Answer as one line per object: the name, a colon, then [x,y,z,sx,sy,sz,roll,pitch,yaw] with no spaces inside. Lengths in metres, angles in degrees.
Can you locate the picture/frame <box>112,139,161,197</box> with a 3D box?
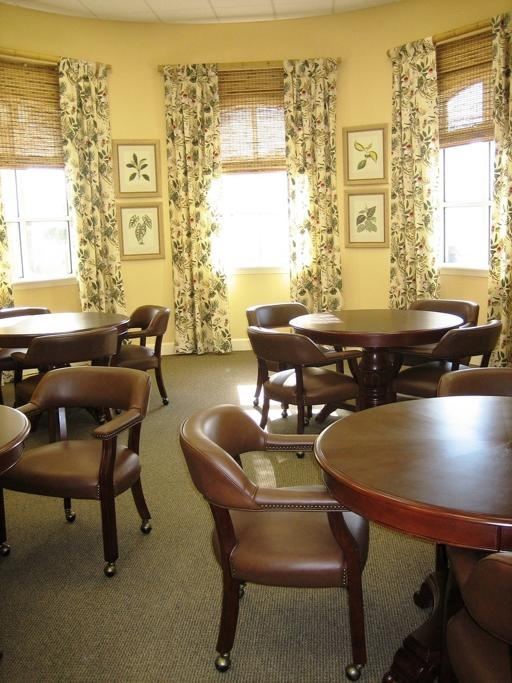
picture/frame: [-1.287,-1.863,5.838,0.673,0.775,0.057,-3,14,-9]

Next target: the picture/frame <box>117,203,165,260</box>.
picture/frame: [-1.259,-1.203,5.914,0.655,0.758,0.053,-3,9,-10]

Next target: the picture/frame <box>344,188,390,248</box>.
picture/frame: [1.185,-1.316,5.781,0.655,0.798,0.057,1,11,14]
